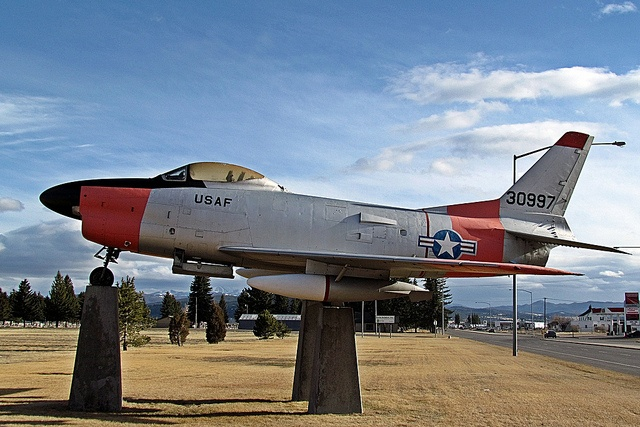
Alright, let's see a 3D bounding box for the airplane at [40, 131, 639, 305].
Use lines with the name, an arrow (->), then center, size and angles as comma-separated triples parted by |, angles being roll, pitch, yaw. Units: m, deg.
airplane -> 0.605, 0.729, 18.439 | 12.368, 3.636, 9.684 | 3, -6, -6
